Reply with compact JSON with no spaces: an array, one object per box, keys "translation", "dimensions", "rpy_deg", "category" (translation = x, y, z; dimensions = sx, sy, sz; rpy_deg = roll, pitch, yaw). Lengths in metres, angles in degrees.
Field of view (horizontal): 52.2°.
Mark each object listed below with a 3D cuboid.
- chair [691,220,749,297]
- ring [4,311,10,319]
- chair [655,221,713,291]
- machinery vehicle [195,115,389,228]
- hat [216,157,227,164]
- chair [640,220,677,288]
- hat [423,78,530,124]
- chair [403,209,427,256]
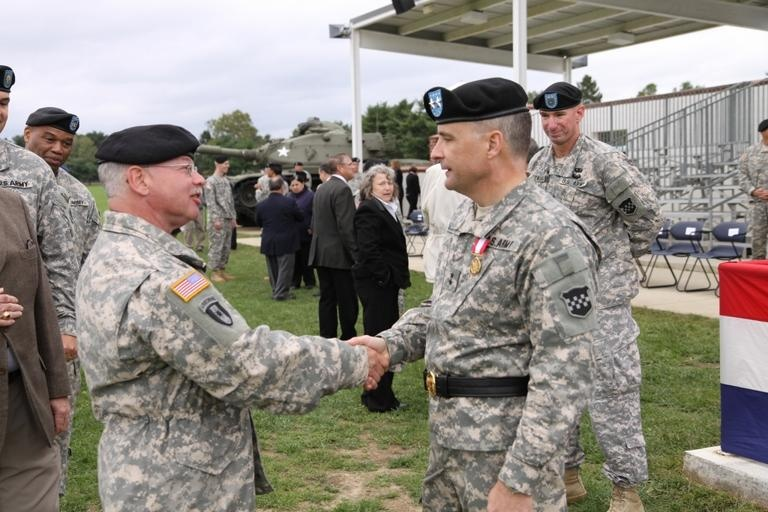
[{"translation":[5.336,-0.005,12.555],"dimensions":[0.869,1.176,0.744],"rpy_deg":[1,5,-29],"category":"chair"},{"translation":[-2.283,0.356,4.740],"dimensions":[0.040,0.039,0.010],"rpy_deg":[-35,6,-6],"category":"ring"},{"translation":[4.948,-0.038,13.229],"dimensions":[0.814,1.144,0.768],"rpy_deg":[-5,5,-28],"category":"chair"},{"translation":[-2.826,-3.324,25.385],"dimensions":[6.205,3.153,3.810],"rpy_deg":[0,1,-18],"category":"machinery vehicle"},{"translation":[-3.218,-1.887,15.437],"dimensions":[0.245,0.099,0.208],"rpy_deg":[-2,3,42],"category":"hat"},{"translation":[4.814,-0.024,13.675],"dimensions":[0.649,0.941,0.636],"rpy_deg":[-4,-11,19],"category":"chair"},{"translation":[0.563,-0.911,4.557],"dimensions":[0.636,0.209,0.478],"rpy_deg":[-7,14,-16],"category":"hat"},{"translation":[0.747,-0.497,18.247],"dimensions":[0.780,0.884,0.657],"rpy_deg":[2,10,6],"category":"chair"}]
